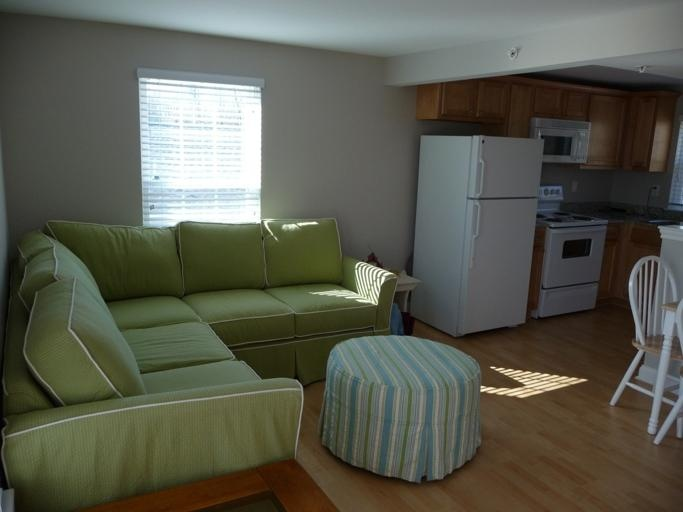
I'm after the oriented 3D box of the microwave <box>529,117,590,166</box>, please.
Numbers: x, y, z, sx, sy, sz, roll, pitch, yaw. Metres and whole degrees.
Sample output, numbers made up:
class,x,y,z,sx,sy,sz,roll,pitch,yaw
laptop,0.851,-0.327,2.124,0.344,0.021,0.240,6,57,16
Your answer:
class,x,y,z,sx,sy,sz,roll,pitch,yaw
microwave,2.414,-1.229,5.598,0.243,0.443,0.658,-8,17,-32

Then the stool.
class,x,y,z,sx,sy,sz,roll,pitch,yaw
stool,0.347,0.908,3.296,0.753,0.462,0.789,1,16,-2

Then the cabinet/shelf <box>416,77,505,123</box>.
class,x,y,z,sx,sy,sz,roll,pitch,yaw
cabinet/shelf,1.225,-1.560,5.158,0.854,0.448,0.326,-3,13,-25

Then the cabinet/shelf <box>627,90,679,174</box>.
class,x,y,z,sx,sy,sz,roll,pitch,yaw
cabinet/shelf,3.553,-1.423,5.987,0.524,0.886,0.328,3,15,18

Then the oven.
class,x,y,z,sx,sy,sz,roll,pitch,yaw
oven,2.398,0.142,5.526,0.761,1.104,0.685,-5,11,-19
